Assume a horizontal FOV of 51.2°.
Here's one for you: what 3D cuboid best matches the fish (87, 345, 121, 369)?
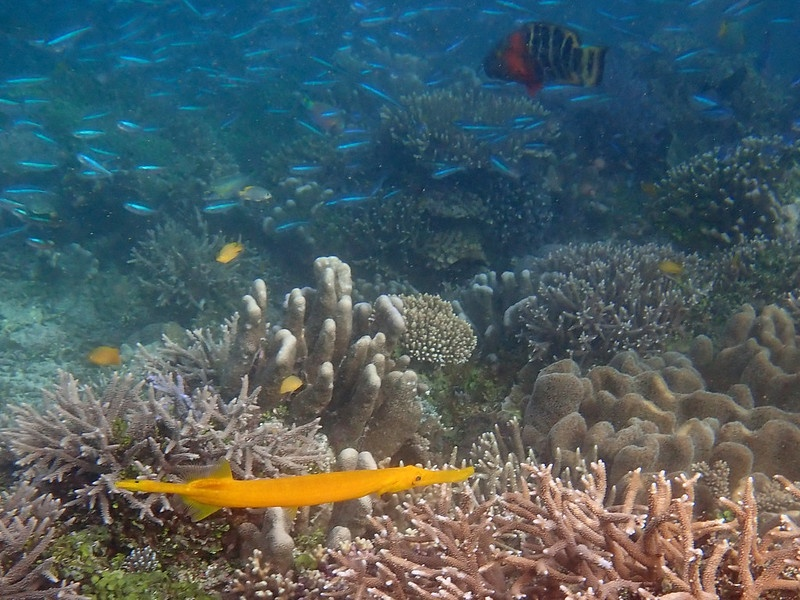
[{"bbox_3d":[-5.166,1.049,14.592,0.489,0.549,0.293,-17,45,-11],"label":"fish"}]
